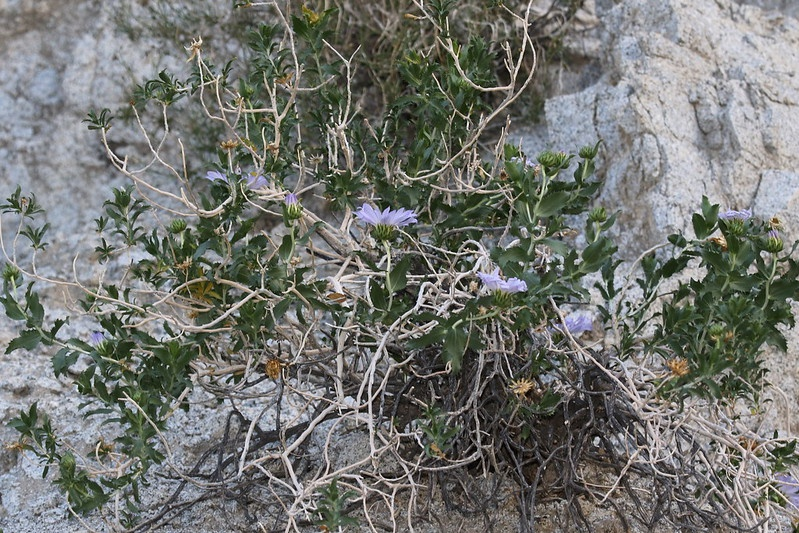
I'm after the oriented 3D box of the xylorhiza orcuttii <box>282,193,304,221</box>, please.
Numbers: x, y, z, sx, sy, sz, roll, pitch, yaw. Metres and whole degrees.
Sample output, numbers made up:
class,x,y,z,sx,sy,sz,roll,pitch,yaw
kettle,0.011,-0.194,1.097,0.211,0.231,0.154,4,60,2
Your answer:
class,x,y,z,sx,sy,sz,roll,pitch,yaw
xylorhiza orcuttii,-0.465,-0.256,5.544,0.094,0.103,0.118,-16,72,10

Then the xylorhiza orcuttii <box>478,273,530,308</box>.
class,x,y,z,sx,sy,sz,roll,pitch,yaw
xylorhiza orcuttii,0.459,0.105,5.427,0.152,0.165,0.100,18,89,35
